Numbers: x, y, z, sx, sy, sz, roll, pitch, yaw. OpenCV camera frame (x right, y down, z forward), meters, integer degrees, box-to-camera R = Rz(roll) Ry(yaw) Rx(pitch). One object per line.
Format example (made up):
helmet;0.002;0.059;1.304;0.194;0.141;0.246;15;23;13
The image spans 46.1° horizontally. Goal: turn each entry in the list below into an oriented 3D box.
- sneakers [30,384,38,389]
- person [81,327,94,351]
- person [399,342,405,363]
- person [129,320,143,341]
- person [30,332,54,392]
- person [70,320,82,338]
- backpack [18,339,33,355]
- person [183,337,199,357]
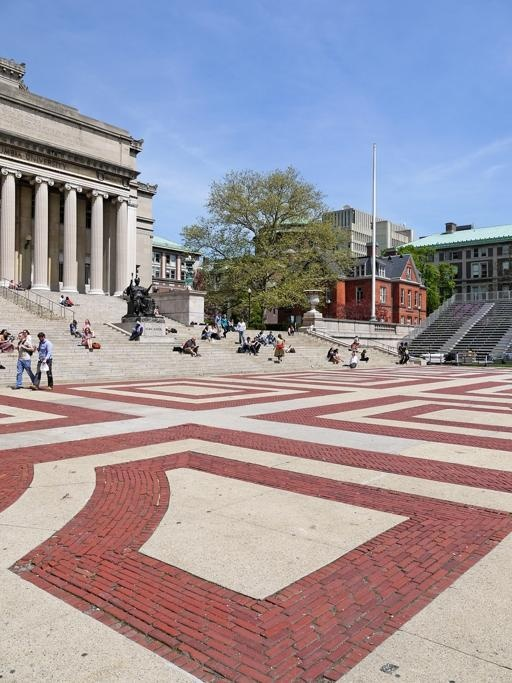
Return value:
sneakers;-5.805;1.189;15.743;0.077;0.132;0.238;-8;-1;-3
person;-6.682;-0.140;24.044;0.422;0.921;1.520;0;3;-17
person;8.508;0.745;35.337;0.293;1.060;1.654;1;3;13
person;-5.572;-0.466;28.258;0.643;0.820;0.874;0;3;-10
person;-5.740;0.507;16.327;0.483;1.529;2.316;-1;3;-19
person;-8.019;-0.564;26.992;0.485;0.732;0.833;0;3;-18
backpack;-5.962;0.143;15.652;0.408;0.366;0.271;-2;-15;8
person;-2.760;0.266;26.435;0.890;0.974;0.557;-1;3;20
